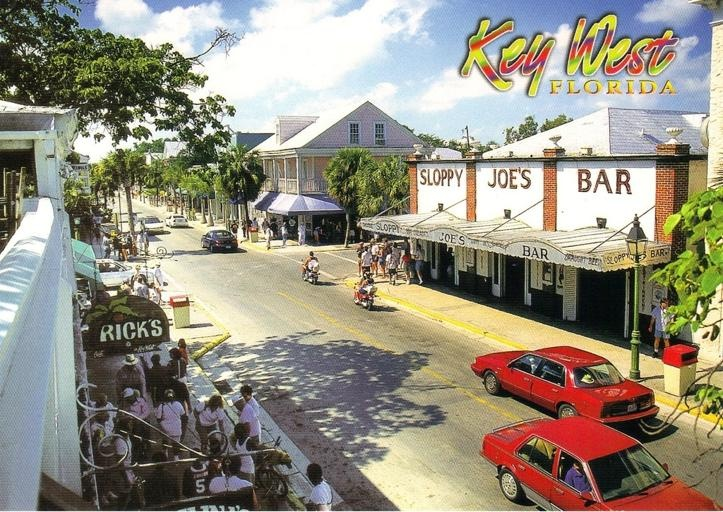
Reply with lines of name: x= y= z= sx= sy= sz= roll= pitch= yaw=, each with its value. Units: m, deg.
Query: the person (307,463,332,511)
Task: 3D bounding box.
person: x=-0.765 y=4.219 z=12.811 sx=0.410 sy=0.981 sz=0.529 roll=-2 pitch=4 yaw=-5

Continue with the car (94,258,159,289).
car: x=-10.778 y=0.804 z=32.175 sx=2.405 sy=0.867 sz=1.096 roll=-3 pitch=10 yaw=-6

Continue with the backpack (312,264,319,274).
backpack: x=-2.199 y=0.590 z=34.154 sx=0.367 sy=0.512 sz=0.268 roll=1 pitch=-5 yaw=-6

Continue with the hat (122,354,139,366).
hat: x=-5.635 y=2.501 z=17.086 sx=0.296 sy=0.120 sz=0.285 roll=6 pitch=8 yaw=21

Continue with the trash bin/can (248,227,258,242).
trash bin/can: x=-8.087 y=-1.616 z=52.515 sx=0.924 sy=1.438 sz=0.930 roll=0 pitch=1 yaw=-21

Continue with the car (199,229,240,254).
car: x=-9.898 y=-1.127 z=48.048 sx=1.241 sy=0.971 sz=2.854 roll=-3 pitch=11 yaw=-27

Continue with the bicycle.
bicycle: x=-2.066 y=4.219 z=14.713 sx=1.108 sy=1.703 sz=1.261 roll=-2 pitch=4 yaw=-8

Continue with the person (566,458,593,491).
person: x=4.099 y=4.194 z=13.308 sx=0.405 sy=0.636 sz=0.713 roll=-4 pitch=2 yaw=33

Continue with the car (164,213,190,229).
car: x=-18.482 y=-3.446 z=70.031 sx=1.358 sy=0.972 sz=3.030 roll=-4 pitch=14 yaw=-24
